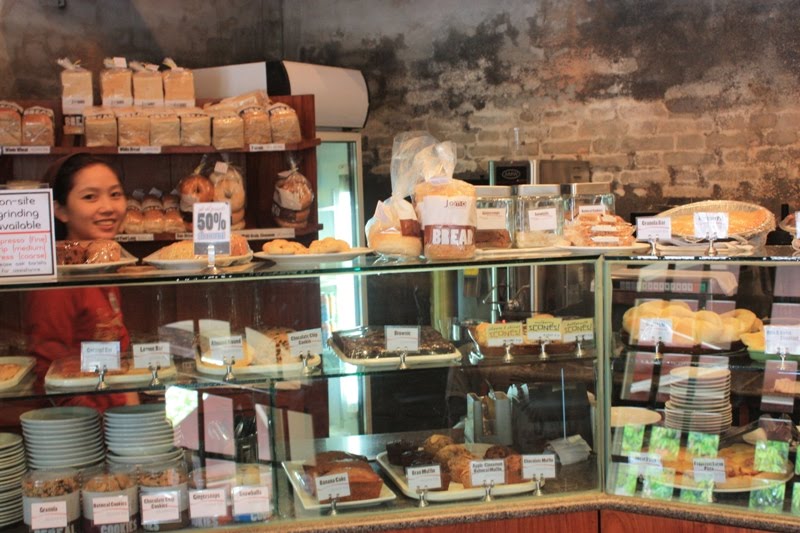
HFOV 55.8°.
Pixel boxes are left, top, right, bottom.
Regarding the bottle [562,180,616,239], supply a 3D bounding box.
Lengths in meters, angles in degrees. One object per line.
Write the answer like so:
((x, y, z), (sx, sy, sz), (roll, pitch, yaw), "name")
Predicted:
((0.809, -0.255, 3.284), (0.218, 0.213, 0.244), (-2, 5, 12), "bottle")

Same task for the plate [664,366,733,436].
((1.252, 0.557, 3.203), (0.293, 0.229, 0.277), (0, -2, -9), "plate")

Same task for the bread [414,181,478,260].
((0.200, -0.194, 3.228), (0.293, 0.344, 0.226), (0, 2, -24), "bread")

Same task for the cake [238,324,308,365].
((-0.539, 0.317, 3.100), (0.174, 0.099, 0.168), (1, -2, -29), "cake")

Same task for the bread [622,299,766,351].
((1.228, 0.253, 3.173), (0.465, 0.118, 0.261), (3, 20, 11), "bread")

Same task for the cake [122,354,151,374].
((-1.065, 0.392, 3.028), (0.090, 0.077, 0.020), (0, 6, -3), "cake")

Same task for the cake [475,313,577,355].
((0.496, 0.286, 3.188), (0.314, 0.095, 0.201), (-2, -3, 2), "cake")

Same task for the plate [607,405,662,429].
((0.976, 0.624, 3.153), (0.258, 0.080, 0.010), (-6, -2, -11), "plate")

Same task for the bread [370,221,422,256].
((-0.016, -0.102, 3.129), (0.171, 0.091, 0.164), (1, -2, -2), "bread")
